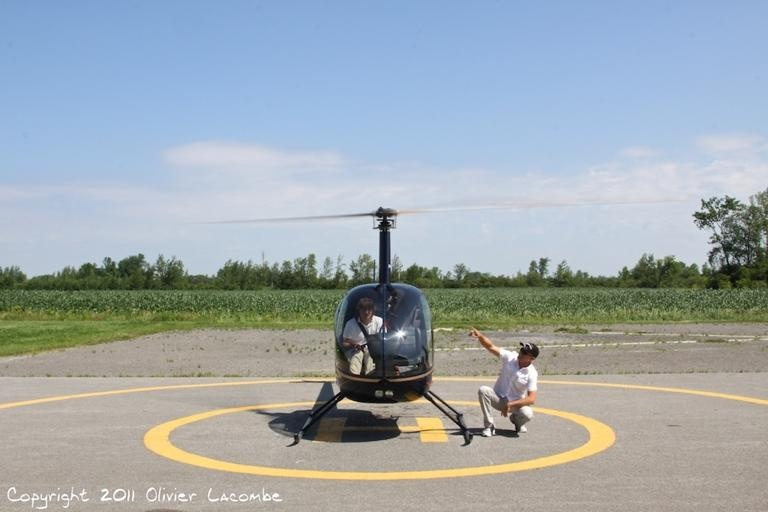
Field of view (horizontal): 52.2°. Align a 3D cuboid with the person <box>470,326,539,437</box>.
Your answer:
[{"bbox_3d":[2.262,2.518,15.401,1.600,1.893,1.098,10,7,-4],"label":"person"}]

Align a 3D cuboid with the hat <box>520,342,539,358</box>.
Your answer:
[{"bbox_3d":[2.836,1.861,15.239,0.417,0.200,0.274,26,24,-7],"label":"hat"}]

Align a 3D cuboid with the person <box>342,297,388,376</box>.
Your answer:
[{"bbox_3d":[-0.401,1.527,15.074,0.802,1.469,0.328,1,0,30],"label":"person"}]

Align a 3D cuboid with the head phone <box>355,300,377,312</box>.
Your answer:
[{"bbox_3d":[-0.341,0.937,15.150,0.248,0.204,0.248,1,-27,-4],"label":"head phone"}]
